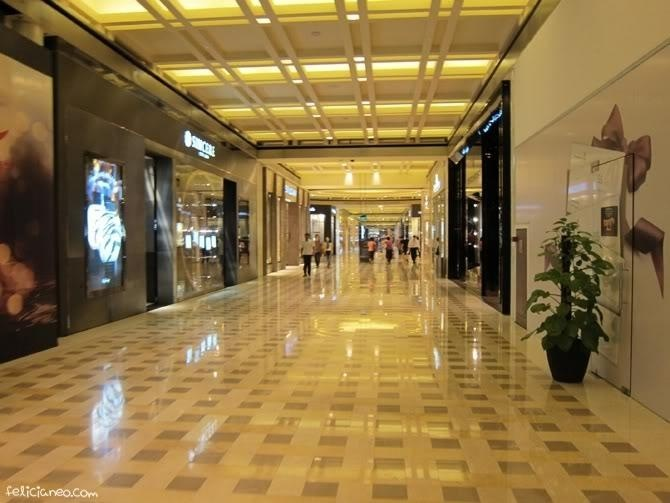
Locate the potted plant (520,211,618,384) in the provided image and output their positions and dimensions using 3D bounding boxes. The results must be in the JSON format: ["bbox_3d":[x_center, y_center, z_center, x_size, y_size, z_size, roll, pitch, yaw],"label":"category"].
[{"bbox_3d":[2.727,0.481,5.362,0.804,1.799,1.639,1,4,24],"label":"potted plant"}]
